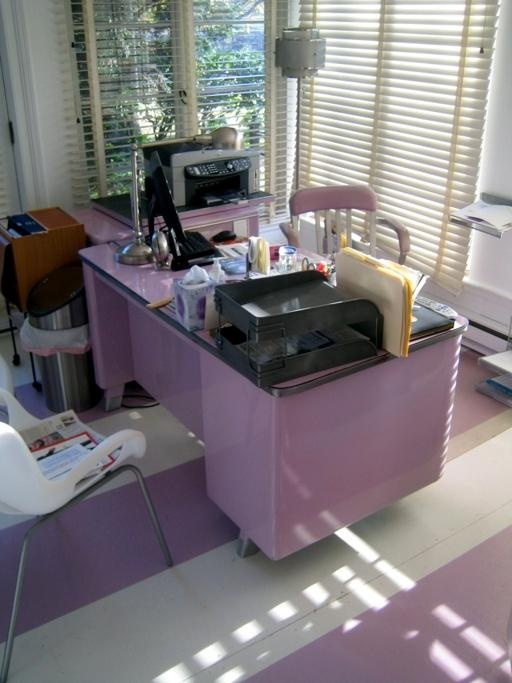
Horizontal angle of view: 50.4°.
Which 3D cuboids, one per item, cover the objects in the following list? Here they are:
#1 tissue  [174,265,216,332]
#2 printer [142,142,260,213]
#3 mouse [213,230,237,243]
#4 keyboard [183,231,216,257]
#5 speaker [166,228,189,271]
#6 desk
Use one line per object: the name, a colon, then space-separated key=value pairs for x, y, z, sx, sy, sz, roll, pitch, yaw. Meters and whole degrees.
tissue : x=-0.171 y=-0.122 z=1.661 sx=0.096 sy=0.185 sz=0.145 roll=-13 pitch=33 yaw=-25
printer: x=-0.262 y=-0.885 z=2.830 sx=0.526 sy=0.275 sz=0.541 roll=-20 pitch=36 yaw=-31
mouse: x=-0.156 y=-0.491 z=2.540 sx=0.059 sy=0.028 sz=0.090 roll=23 pitch=34 yaw=39
keyboard: x=-0.231 y=-0.385 z=2.186 sx=0.117 sy=0.042 sz=0.160 roll=-13 pitch=43 yaw=-23
speaker: x=-0.307 y=-0.352 z=2.100 sx=0.055 sy=0.118 sz=0.128 roll=-10 pitch=41 yaw=-12
desk: x=-0.031 y=0.156 z=1.899 sx=0.767 sy=0.635 sz=1.250 roll=-22 pitch=34 yaw=-34
